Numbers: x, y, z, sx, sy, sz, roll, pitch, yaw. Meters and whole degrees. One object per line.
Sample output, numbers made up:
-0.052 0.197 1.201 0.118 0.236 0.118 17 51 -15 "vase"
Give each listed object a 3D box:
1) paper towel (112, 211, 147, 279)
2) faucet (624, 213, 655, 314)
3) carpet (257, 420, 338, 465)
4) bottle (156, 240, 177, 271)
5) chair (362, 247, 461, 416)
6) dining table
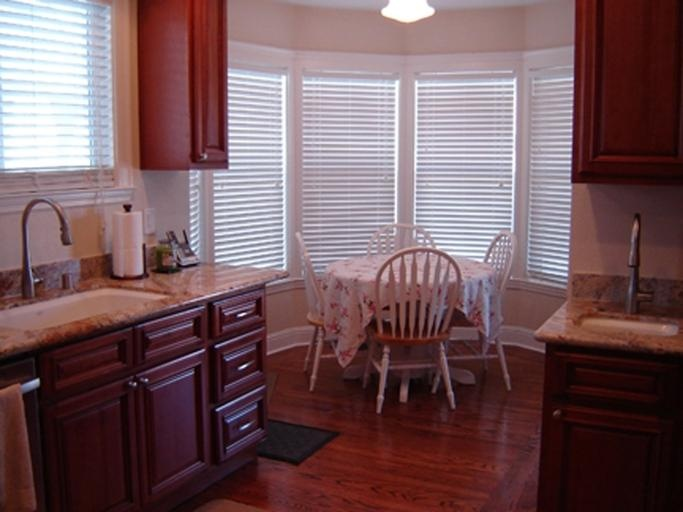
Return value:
-1.184 -0.064 3.016 0.176 0.354 0.145 -5 12 -24 "paper towel"
1.432 0.023 2.610 0.117 0.454 0.282 5 12 27 "faucet"
-0.316 1.154 3.418 0.497 0.023 0.426 4 12 20 "carpet"
-1.039 0.007 3.226 0.125 0.161 0.090 3 11 18 "bottle"
0.512 0.498 3.959 0.615 1.121 0.701 0 1 8 "chair"
0.521 0.407 4.425 1.621 0.716 1.550 -9 9 -41 "dining table"
